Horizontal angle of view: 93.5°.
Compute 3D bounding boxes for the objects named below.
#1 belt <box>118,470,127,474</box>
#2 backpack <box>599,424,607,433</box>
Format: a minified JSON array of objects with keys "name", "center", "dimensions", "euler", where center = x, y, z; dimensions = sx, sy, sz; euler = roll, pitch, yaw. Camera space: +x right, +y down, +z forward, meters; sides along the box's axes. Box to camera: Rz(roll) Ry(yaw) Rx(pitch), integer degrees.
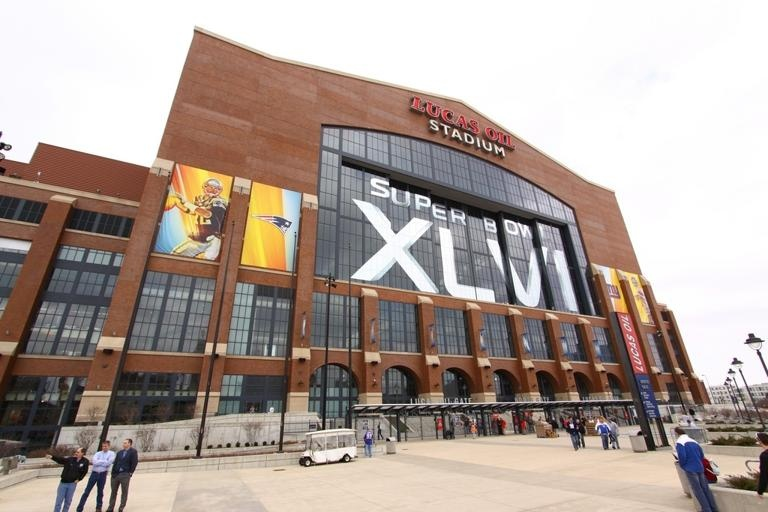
[{"name":"belt","center":[-11.493,9.707,16.037],"dimensions":[0.217,0.154,0.047],"euler":[11,-1,-17]},{"name":"backpack","center":[16.307,12.977,26.896],"dimensions":[0.563,0.660,0.478],"euler":[-16,-26,26]}]
